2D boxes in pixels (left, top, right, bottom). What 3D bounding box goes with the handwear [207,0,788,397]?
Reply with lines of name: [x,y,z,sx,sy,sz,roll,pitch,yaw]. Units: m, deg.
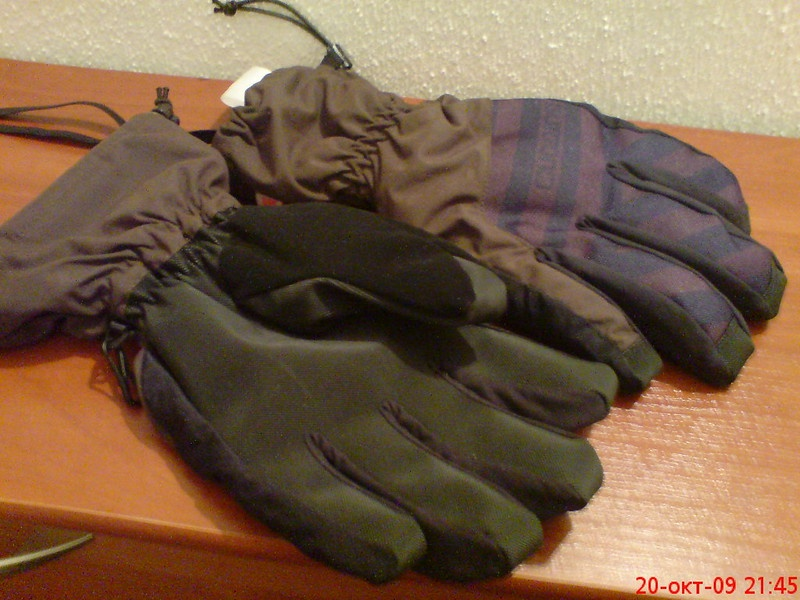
handwear: [0.154,-0.160,1.195,0.956,0.201,0.459,13,57,4]
